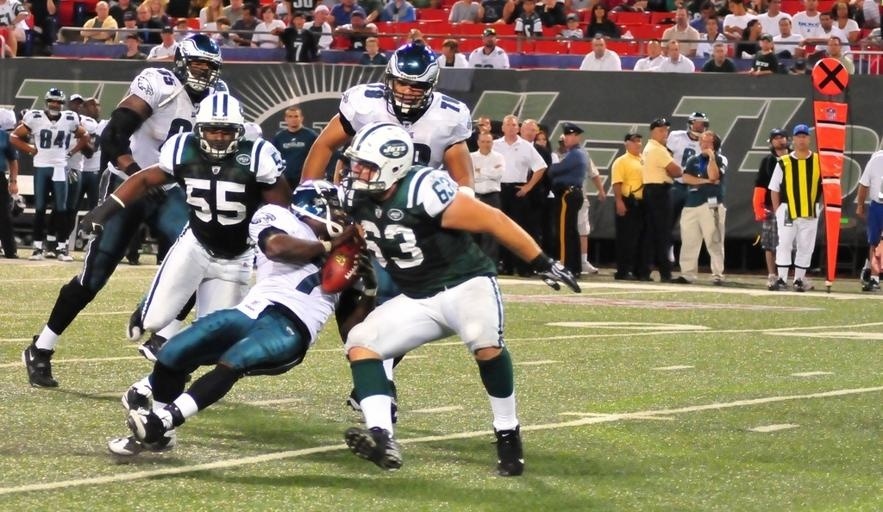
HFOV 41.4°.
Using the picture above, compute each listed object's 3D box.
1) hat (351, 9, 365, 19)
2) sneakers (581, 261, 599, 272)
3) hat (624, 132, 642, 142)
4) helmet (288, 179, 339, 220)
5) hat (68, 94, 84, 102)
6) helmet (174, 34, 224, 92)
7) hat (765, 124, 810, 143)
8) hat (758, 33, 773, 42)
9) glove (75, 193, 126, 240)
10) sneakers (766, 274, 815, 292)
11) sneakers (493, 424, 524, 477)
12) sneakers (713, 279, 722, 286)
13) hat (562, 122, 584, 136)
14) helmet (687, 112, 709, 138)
[{"bbox_3d":[-1.420,-4.224,20.111,0.215,0.141,0.209,2,0,-26],"label":"hat"},{"bbox_3d":[2.307,0.170,18.056,0.364,0.129,0.115,7,33,-5],"label":"sneakers"},{"bbox_3d":[2.764,-1.728,16.874,0.184,0.117,0.149,4,14,12],"label":"hat"},{"bbox_3d":[-0.995,-0.454,9.261,0.394,0.305,0.279,-26,5,-6],"label":"helmet"},{"bbox_3d":[-5.729,-2.520,18.401,0.269,0.146,0.386,-1,4,-27],"label":"hat"},{"bbox_3d":[-2.210,-1.756,10.422,0.430,0.458,0.544,-5,25,-34],"label":"helmet"},{"bbox_3d":[4.909,-1.777,16.376,0.628,0.193,0.363,-12,-2,9],"label":"hat"},{"bbox_3d":[5.079,-3.430,18.234,0.190,0.083,0.256,11,13,20],"label":"hat"},{"bbox_3d":[-2.868,-0.300,9.850,0.500,0.187,0.254,-32,34,-1],"label":"glove"},{"bbox_3d":[4.951,0.368,16.720,0.725,0.253,0.221,-1,18,8],"label":"sneakers"},{"bbox_3d":[0.509,1.484,8.832,0.169,0.172,0.448,-5,12,2],"label":"sneakers"},{"bbox_3d":[4.023,0.369,16.951,0.141,0.094,0.178,3,13,8],"label":"sneakers"},{"bbox_3d":[1.953,-1.855,16.983,0.240,0.092,0.254,4,0,34],"label":"hat"},{"bbox_3d":[3.725,-1.923,17.047,0.332,0.346,0.385,3,-5,-3],"label":"helmet"}]
